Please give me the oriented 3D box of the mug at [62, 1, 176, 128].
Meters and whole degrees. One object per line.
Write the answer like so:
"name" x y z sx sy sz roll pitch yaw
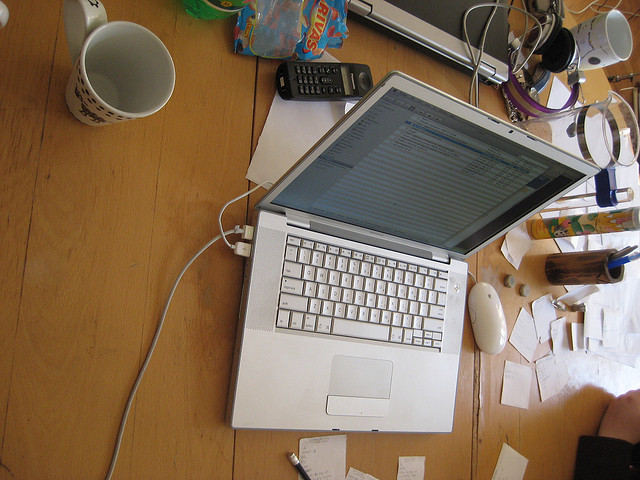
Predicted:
"mug" -0.329 -0.263 0.850 0.173 0.165 0.139 28 64 -14

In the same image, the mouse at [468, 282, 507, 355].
"mouse" 0.364 0.170 1.125 0.079 0.039 0.151 -2 86 -40

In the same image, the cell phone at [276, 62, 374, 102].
"cell phone" 0.011 -0.322 1.103 0.194 0.042 0.094 -1 85 -29
